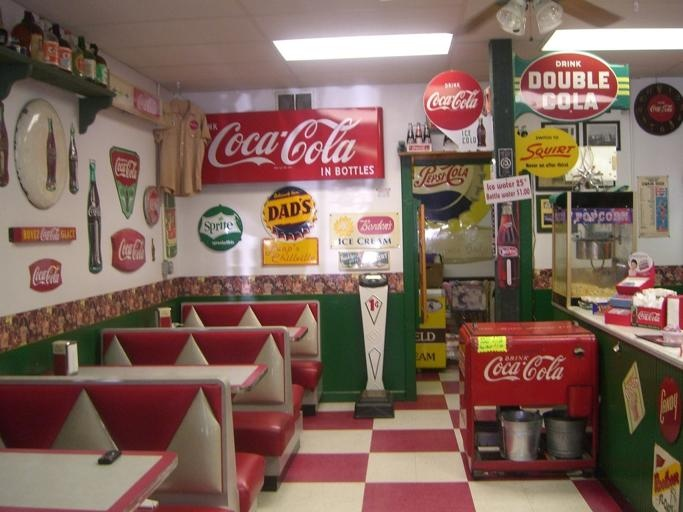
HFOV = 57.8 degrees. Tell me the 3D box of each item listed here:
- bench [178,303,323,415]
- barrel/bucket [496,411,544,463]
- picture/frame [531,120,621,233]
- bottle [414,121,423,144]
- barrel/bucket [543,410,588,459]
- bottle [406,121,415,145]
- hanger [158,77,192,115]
[{"bbox_3d":[-0.874,1.357,6.766,1.806,1.399,1.046,-1,-7,4],"label":"bench"},{"bbox_3d":[1.550,1.532,5.339,0.352,0.349,0.335,0,1,0],"label":"barrel/bucket"},{"bbox_3d":[2.651,-0.886,6.894,0.887,1.250,0.729,2,9,21],"label":"picture/frame"},{"bbox_3d":[0.877,-1.391,6.945,0.079,0.235,0.182,-1,8,2],"label":"bottle"},{"bbox_3d":[1.899,1.519,5.341,0.362,0.310,0.339,0,2,0],"label":"barrel/bucket"},{"bbox_3d":[0.780,-1.387,6.941,0.098,0.243,0.213,0,9,6],"label":"bottle"},{"bbox_3d":[-1.840,-1.763,6.782,0.398,0.497,0.040,1,-4,-10],"label":"hanger"}]
